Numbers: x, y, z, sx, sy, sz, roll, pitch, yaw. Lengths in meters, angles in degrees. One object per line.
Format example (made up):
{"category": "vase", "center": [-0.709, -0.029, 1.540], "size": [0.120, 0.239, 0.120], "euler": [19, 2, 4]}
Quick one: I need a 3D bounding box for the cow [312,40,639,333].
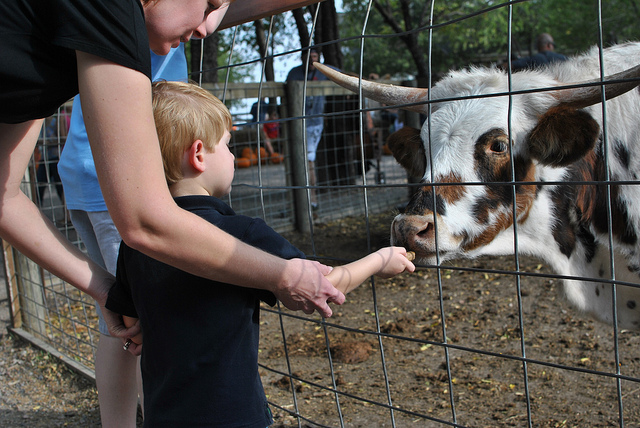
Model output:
{"category": "cow", "center": [1.282, -0.133, 4.957], "size": [1.603, 1.742, 1.072], "euler": [-3, 15, 4]}
